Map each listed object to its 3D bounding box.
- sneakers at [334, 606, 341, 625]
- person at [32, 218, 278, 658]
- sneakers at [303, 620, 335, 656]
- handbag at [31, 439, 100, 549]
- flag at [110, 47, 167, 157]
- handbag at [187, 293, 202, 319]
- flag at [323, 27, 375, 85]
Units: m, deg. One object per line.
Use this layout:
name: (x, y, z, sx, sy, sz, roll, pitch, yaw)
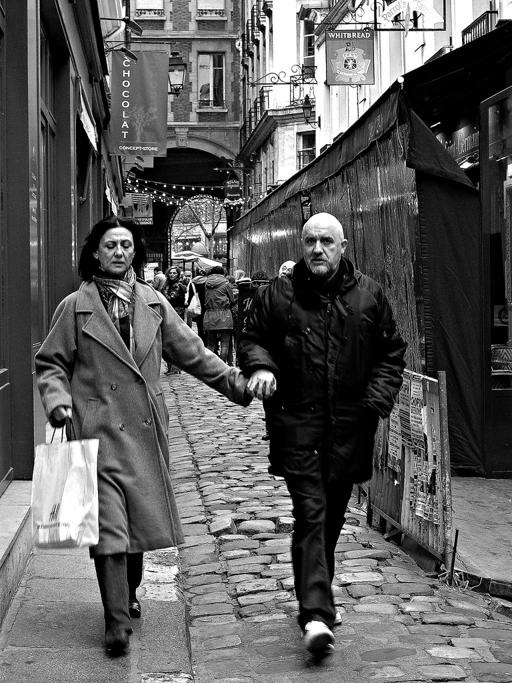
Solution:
sneakers: (0.319, 1.077, 3.051, 0.031, 0.059, 0.114, 0, -7, 2)
person: (-0.487, 0.259, 2.882, 0.530, 1.426, 0.706, 3, 5, 31)
sneakers: (0.204, 0.998, 2.607, 0.065, 0.108, 0.203, -4, -22, 5)
handbag: (-0.617, 0.496, 2.514, 0.209, 0.346, 0.224, -1, 5, -16)
flag: (-2.538, -5.193, 16.797, 1.245, 2.073, 0.786, 0, 4, -5)
handbag: (-1.305, -0.761, 16.751, 0.261, 0.845, 0.584, 1, 5, -16)
flag: (1.902, -5.771, 15.708, 1.065, 1.662, 0.183, -2, 17, -4)
